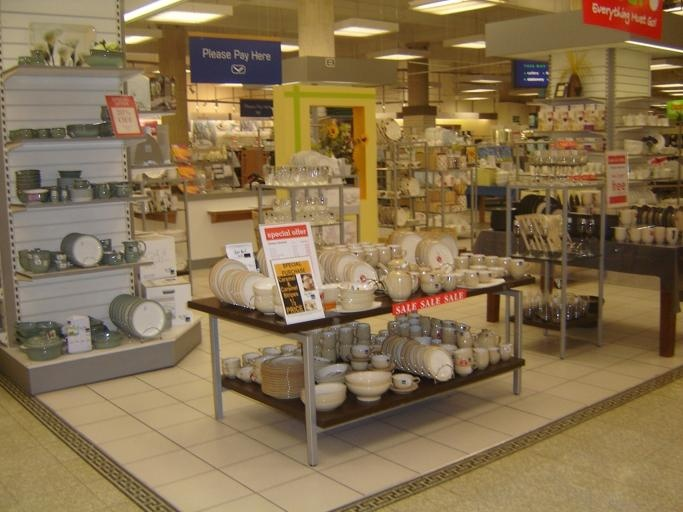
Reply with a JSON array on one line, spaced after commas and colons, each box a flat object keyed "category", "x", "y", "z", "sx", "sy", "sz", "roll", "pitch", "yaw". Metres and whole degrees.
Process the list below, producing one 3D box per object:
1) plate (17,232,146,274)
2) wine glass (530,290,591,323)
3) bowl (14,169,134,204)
[{"category": "plate", "x": -2.464, "y": -0.051, "z": 5.087, "sx": 1.029, "sy": 0.309, "sz": 0.339, "roll": -7, "pitch": 11, "yaw": -30}, {"category": "wine glass", "x": 2.245, "y": 0.533, "z": 5.523, "sx": 0.378, "sy": 0.164, "sz": 0.426, "roll": 1, "pitch": 2, "yaw": 26}, {"category": "bowl", "x": -2.541, "y": -0.671, "z": 5.095, "sx": 0.967, "sy": 0.305, "sz": 0.368, "roll": -7, "pitch": 11, "yaw": -29}]
